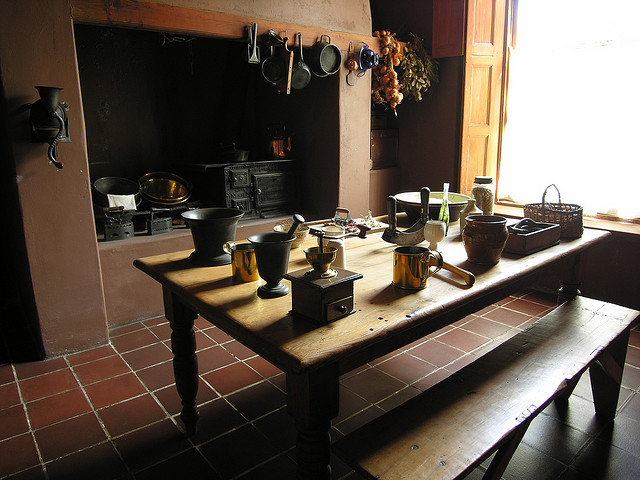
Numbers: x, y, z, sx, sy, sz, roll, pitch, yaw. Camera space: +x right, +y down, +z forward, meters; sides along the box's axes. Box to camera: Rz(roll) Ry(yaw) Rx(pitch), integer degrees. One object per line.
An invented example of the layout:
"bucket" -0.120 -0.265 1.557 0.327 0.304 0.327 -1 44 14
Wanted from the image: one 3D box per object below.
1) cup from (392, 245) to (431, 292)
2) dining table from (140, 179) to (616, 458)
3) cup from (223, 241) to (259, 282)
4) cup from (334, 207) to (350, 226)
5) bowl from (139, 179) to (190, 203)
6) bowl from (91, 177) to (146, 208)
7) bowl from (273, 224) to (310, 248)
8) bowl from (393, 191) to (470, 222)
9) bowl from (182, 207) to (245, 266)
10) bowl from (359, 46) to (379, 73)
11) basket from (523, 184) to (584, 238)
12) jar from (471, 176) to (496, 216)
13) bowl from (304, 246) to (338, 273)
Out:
"cup" 0.436 0.138 2.139 0.175 0.195 0.130 0 15 9
"dining table" 0.288 0.516 2.952 1.289 1.122 2.460 19 24 38
"cup" -0.378 0.104 2.276 0.124 0.155 0.209 -13 20 -37
"cup" 0.167 -0.182 3.452 0.087 0.154 0.155 -21 31 -40
"bowl" -1.436 -0.459 4.147 0.410 0.182 0.437 -2 16 1
"bowl" -1.742 -0.426 3.960 0.457 0.233 0.523 -12 18 -32
"bowl" -0.147 -0.017 2.777 0.151 0.087 0.156 -1 11 0
"bowl" 0.764 -0.235 3.082 0.336 0.107 0.339 -2 13 1
"bowl" -0.563 -0.039 2.457 0.304 0.234 0.314 3 18 -1
"bowl" 0.489 -1.813 4.452 0.103 0.201 0.198 6 14 25
"basket" 1.543 -0.204 2.983 0.376 0.339 0.260 1 -5 22
"jar" 1.169 -0.301 3.199 0.163 0.294 0.166 -5 20 2
"bowl" 0.010 0.069 1.922 0.110 0.075 0.111 -5 12 1
